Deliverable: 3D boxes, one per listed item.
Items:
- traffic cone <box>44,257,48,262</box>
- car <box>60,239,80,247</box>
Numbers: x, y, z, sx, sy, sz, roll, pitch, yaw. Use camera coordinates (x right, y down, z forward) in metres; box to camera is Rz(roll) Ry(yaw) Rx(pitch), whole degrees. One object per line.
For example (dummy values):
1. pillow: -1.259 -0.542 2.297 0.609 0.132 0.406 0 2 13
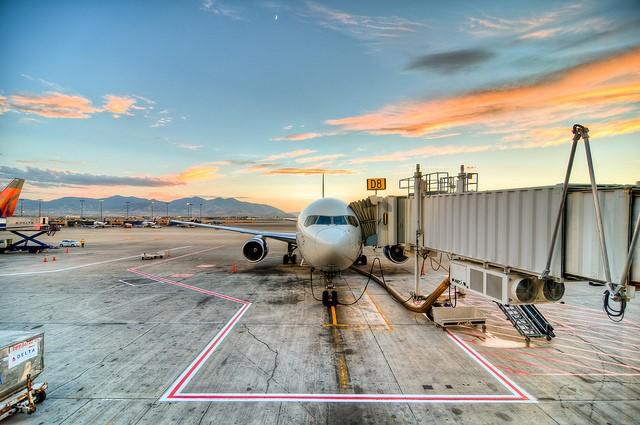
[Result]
1. traffic cone: -26.436 4.512 38.529 0.524 0.451 0.482 3 -9 -27
2. car: -31.710 3.960 50.823 2.310 0.596 1.101 -1 2 -11
